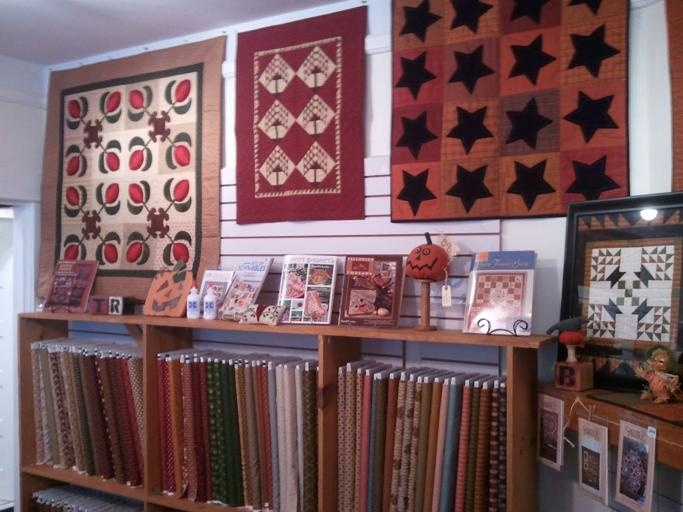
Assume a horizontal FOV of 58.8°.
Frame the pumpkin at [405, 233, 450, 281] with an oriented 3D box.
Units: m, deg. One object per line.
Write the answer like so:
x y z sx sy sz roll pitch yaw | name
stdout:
0.462 -0.008 3.302 0.205 0.290 0.199 8 -13 37 | pumpkin

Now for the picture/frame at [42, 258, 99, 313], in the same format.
-1.865 0.211 4.213 0.341 0.363 0.084 -1 -24 25 | picture/frame
